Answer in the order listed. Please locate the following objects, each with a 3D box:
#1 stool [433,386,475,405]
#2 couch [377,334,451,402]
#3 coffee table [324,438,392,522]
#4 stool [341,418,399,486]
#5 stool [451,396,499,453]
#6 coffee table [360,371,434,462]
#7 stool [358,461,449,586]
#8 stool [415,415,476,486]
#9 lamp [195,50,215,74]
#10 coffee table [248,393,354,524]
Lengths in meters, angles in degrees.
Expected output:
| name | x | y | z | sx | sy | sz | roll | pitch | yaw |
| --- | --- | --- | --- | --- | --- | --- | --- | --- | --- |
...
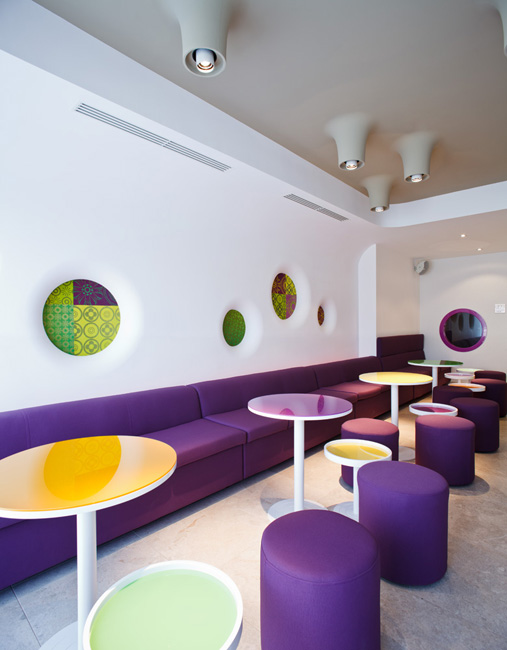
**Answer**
| name | x | y | z | sx | sy | sz | roll | pitch | yaw |
| --- | --- | --- | --- | --- | --- | --- | --- | --- | --- |
| stool | 1.927 | 0.671 | 4.780 | 0.233 | 0.143 | 0.226 | 0 | -2 | -14 |
| couch | 1.993 | 0.541 | 6.091 | 0.370 | 0.549 | 0.897 | 1 | 2 | 44 |
| coffee table | 0.606 | 0.905 | 2.871 | 0.423 | 0.457 | 0.427 | 0 | 1 | 3 |
| stool | 0.829 | 0.886 | 3.381 | 0.440 | 0.404 | 0.446 | 0 | 2 | 34 |
| stool | 1.903 | 0.848 | 4.202 | 0.424 | 0.455 | 0.415 | -2 | -1 | -1 |
| coffee table | 1.243 | 0.730 | 4.342 | 0.750 | 0.773 | 0.734 | -3 | -3 | 37 |
| stool | 0.736 | 0.927 | 2.507 | 0.465 | 0.497 | 0.479 | -1 | 1 | 38 |
| stool | 1.311 | 0.863 | 3.552 | 0.489 | 0.521 | 0.479 | -1 | -1 | -2 |
| lamp | -0.228 | -1.244 | 2.322 | 0.101 | 0.075 | 0.089 | 1 | 4 | -4 |
| coffee table | 0.250 | 0.788 | 2.981 | 0.711 | 0.730 | 0.676 | 0 | -1 | -11 |
